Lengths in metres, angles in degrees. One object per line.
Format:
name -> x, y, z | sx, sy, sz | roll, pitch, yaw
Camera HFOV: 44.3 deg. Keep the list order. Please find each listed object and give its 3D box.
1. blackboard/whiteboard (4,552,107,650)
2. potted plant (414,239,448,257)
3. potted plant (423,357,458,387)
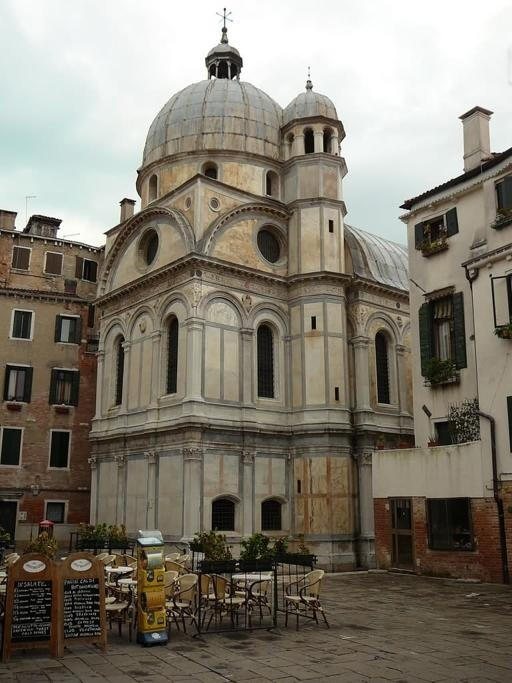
blackboard/whiteboard -> -2.881, 3.769, 9.012 | 1.412, 1.402, 0.095 | 15, -34, -38
potted plant -> 6.658, -3.525, 23.434 | 0.712, 0.313, 0.536 | -3, -6, 1
potted plant -> 6.520, 1.095, 22.063 | 0.894, 0.942, 1.086 | 3, -7, -22
